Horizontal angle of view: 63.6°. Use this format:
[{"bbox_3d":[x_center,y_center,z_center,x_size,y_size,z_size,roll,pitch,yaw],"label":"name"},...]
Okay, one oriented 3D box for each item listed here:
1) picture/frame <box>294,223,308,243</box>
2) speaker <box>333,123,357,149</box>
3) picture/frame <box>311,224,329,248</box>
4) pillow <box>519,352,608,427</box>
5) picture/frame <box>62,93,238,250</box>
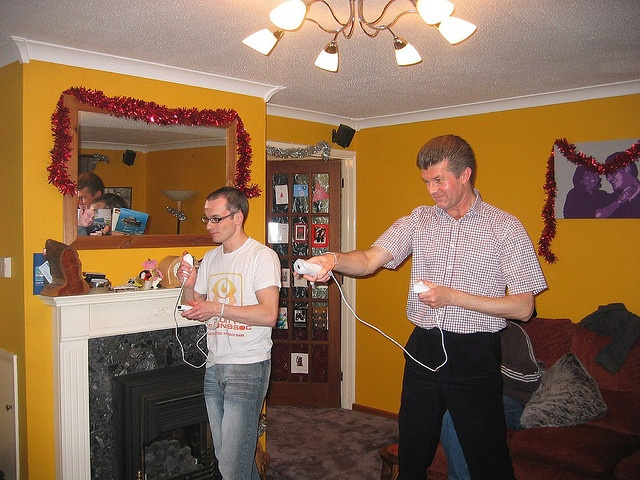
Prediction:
[{"bbox_3d":[-0.189,-0.082,5.436,0.212,0.277,0.021,1,1,2],"label":"picture/frame"},{"bbox_3d":[0.314,-1.078,5.397,0.226,0.276,0.217,3,1,-44],"label":"speaker"},{"bbox_3d":[0.007,-0.063,5.432,0.241,0.307,0.032,2,6,5],"label":"picture/frame"},{"bbox_3d":[1.750,0.977,3.713,0.564,0.133,0.500,15,-4,7],"label":"pillow"},{"bbox_3d":[-1.230,-0.472,3.604,1.220,1.011,0.053,-2,5,-37],"label":"picture/frame"}]
